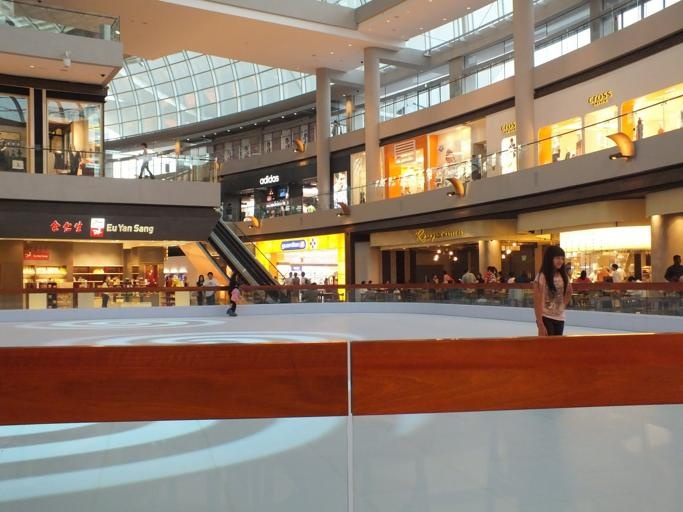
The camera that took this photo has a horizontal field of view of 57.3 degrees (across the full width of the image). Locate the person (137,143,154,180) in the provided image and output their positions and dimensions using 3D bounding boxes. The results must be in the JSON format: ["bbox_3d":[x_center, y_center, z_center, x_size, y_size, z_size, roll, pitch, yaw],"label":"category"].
[{"bbox_3d":[-6.982,-3.417,22.369,0.511,1.202,1.454,-1,0,-17],"label":"person"}]

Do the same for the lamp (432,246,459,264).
[{"bbox_3d":[5.369,-0.009,32.507,1.303,0.719,0.394,-1,0,7],"label":"lamp"}]

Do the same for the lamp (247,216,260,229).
[{"bbox_3d":[-4.667,-1.821,33.512,0.604,0.640,0.461,-8,9,-29],"label":"lamp"}]

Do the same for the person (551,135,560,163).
[{"bbox_3d":[6.252,-3.139,18.298,0.080,0.755,0.362,-1,0,-14],"label":"person"}]

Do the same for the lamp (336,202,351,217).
[{"bbox_3d":[0.138,-2.166,28.643,0.457,0.648,0.930,-1,0,-15],"label":"lamp"}]

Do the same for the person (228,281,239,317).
[{"bbox_3d":[-3.417,1.324,19.771,0.326,1.041,0.548,-1,0,-16],"label":"person"}]

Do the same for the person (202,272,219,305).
[{"bbox_3d":[-4.313,1.030,20.690,0.399,0.951,2.092,-1,0,-11],"label":"person"}]

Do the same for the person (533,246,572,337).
[{"bbox_3d":[2.380,0.380,7.067,0.388,1.047,0.547,-1,0,18],"label":"person"}]

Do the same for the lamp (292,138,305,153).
[{"bbox_3d":[-2.390,-6.367,35.834,0.605,0.811,1.324,-1,0,-5],"label":"lamp"}]

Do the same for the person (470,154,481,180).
[{"bbox_3d":[4.672,-3.077,21.739,0.240,0.924,0.622,-1,0,-6],"label":"person"}]

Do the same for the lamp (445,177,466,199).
[{"bbox_3d":[4.061,-2.450,22.335,0.379,0.720,0.816,-1,0,-25],"label":"lamp"}]

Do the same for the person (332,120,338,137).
[{"bbox_3d":[-0.334,-6.788,33.229,0.335,0.757,0.774,-1,0,-21],"label":"person"}]

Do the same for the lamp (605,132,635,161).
[{"bbox_3d":[7.020,-2.746,15.564,0.689,0.737,0.453,-2,-2,2],"label":"lamp"}]
